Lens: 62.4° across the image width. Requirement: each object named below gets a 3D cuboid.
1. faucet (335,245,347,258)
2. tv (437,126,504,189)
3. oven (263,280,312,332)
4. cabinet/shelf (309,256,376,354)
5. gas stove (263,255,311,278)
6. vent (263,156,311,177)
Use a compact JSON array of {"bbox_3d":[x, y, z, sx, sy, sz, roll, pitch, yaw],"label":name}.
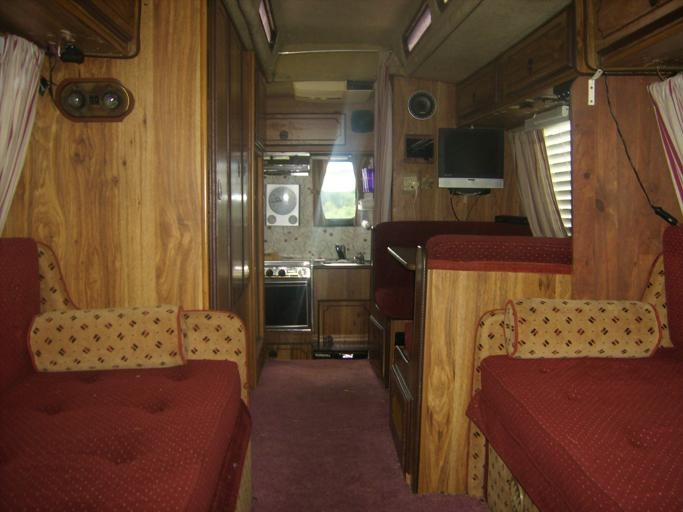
[{"bbox_3d":[0.004,-0.049,6.129,0.090,0.139,0.049,-2,1,19],"label":"faucet"},{"bbox_3d":[1.160,-0.873,5.013,0.470,0.472,0.177,0,1,-1],"label":"tv"},{"bbox_3d":[-0.544,0.517,5.832,0.517,0.570,0.309,-1,0,4],"label":"oven"},{"bbox_3d":[-0.014,0.534,6.044,0.734,1.563,0.782,1,1,-3],"label":"cabinet/shelf"},{"bbox_3d":[-0.556,0.105,5.902,0.471,0.166,0.534,-1,9,-7],"label":"gas stove"},{"bbox_3d":[-0.563,-0.949,5.963,0.503,0.205,0.279,-1,9,-10],"label":"vent"}]
